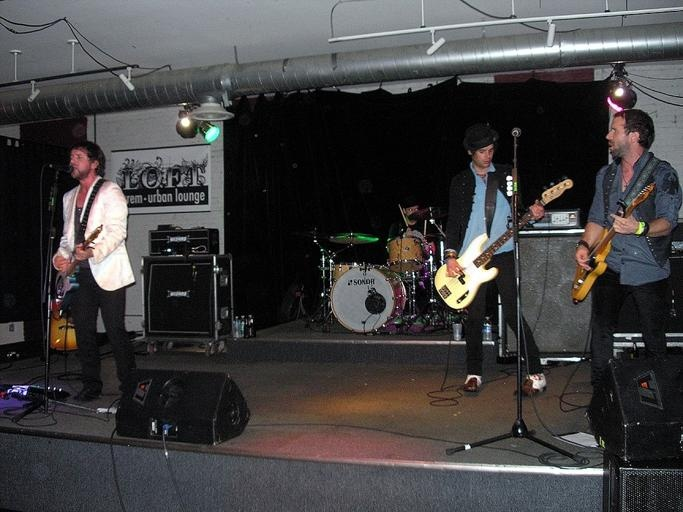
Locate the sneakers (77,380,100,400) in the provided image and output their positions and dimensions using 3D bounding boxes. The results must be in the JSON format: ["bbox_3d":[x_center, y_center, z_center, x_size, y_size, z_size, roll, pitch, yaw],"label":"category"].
[{"bbox_3d":[-2.120,1.126,5.102,0.097,0.197,0.203,-9,-23,27],"label":"sneakers"}]

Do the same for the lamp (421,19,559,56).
[{"bbox_3d":[1.488,-2.195,6.256,1.347,0.339,0.252,2,12,21],"label":"lamp"}]

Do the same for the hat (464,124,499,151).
[{"bbox_3d":[1.130,-0.949,5.011,0.260,0.226,0.235,-2,11,10],"label":"hat"}]

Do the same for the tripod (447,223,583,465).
[{"bbox_3d":[1.135,0.547,4.314,0.813,1.479,1.233,-2,11,11],"label":"tripod"}]

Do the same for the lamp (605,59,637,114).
[{"bbox_3d":[3.036,-1.862,6.740,0.239,0.635,0.335,-5,-20,29],"label":"lamp"}]

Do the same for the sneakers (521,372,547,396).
[{"bbox_3d":[1.575,1.059,5.034,0.099,0.123,0.287,-7,-16,36],"label":"sneakers"}]

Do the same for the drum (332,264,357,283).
[{"bbox_3d":[0.035,0.221,7.389,0.240,0.238,0.242,3,-4,-13],"label":"drum"}]

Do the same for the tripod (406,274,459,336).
[{"bbox_3d":[1.079,0.587,7.505,0.607,0.836,0.614,-1,4,-1],"label":"tripod"}]

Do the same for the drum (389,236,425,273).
[{"bbox_3d":[0.750,0.010,7.357,0.467,0.353,0.457,-2,-22,-1],"label":"drum"}]

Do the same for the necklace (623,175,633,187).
[{"bbox_3d":[2.036,-0.529,4.403,0.016,0.069,0.068,5,3,-30],"label":"necklace"}]

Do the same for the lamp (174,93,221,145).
[{"bbox_3d":[-2.006,-1.725,8.345,0.687,0.711,0.783,5,26,-2],"label":"lamp"}]

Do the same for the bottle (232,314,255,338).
[{"bbox_3d":[-1.171,0.855,7.365,0.218,0.215,0.076,-5,-11,28],"label":"bottle"}]

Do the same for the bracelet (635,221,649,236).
[{"bbox_3d":[2.000,-0.176,4.105,0.071,0.051,0.097,2,14,40],"label":"bracelet"}]

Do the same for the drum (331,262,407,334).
[{"bbox_3d":[0.321,0.532,7.245,0.842,0.796,0.612,0,-1,38],"label":"drum"}]

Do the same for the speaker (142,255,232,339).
[{"bbox_3d":[-1.883,0.516,7.586,0.965,1.012,0.651,0,-2,8],"label":"speaker"}]

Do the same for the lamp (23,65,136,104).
[{"bbox_3d":[-2.989,-2.133,7.578,1.680,0.389,0.886,-1,11,18],"label":"lamp"}]

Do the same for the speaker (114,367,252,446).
[{"bbox_3d":[-1.119,0.999,4.319,0.759,0.422,0.587,1,5,5],"label":"speaker"}]

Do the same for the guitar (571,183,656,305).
[{"bbox_3d":[1.967,-0.050,4.428,0.152,0.434,1.117,18,-33,7],"label":"guitar"}]
